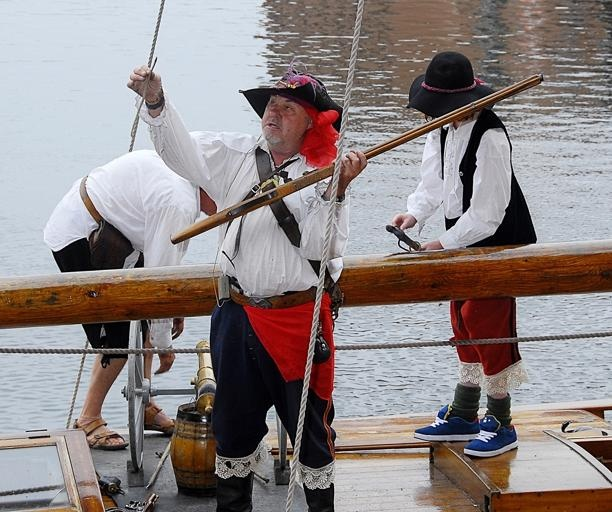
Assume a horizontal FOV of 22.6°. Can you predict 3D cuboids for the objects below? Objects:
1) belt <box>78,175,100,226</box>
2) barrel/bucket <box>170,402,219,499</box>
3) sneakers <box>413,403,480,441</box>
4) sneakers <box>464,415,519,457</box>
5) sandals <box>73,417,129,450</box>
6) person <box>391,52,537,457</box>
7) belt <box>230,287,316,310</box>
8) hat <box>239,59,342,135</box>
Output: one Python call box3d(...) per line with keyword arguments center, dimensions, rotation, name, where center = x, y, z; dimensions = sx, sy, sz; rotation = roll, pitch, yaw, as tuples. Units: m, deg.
box3d(center=(-1.731, -0.427, 12.206), dimensions=(0.084, 0.300, 0.292), rotation=(-26, -13, 9), name="belt")
box3d(center=(-0.848, 1.487, 11.482), dimensions=(0.465, 0.566, 0.441), rotation=(-1, 1, 0), name="barrel/bucket")
box3d(center=(1.085, 1.317, 11.870), dimensions=(0.637, 0.252, 0.195), rotation=(2, -1, 0), name="sneakers")
box3d(center=(1.419, 1.387, 11.703), dimensions=(0.562, 0.234, 0.196), rotation=(-5, 10, -36), name="sneakers")
box3d(center=(-1.619, 1.410, 12.135), dimensions=(0.552, 0.197, 0.254), rotation=(10, 16, 29), name="sandals")
box3d(center=(1.260, 0.007, 12.167), dimensions=(1.480, 2.787, 1.019), rotation=(0, 2, -2), name="person")
box3d(center=(-0.248, 0.305, 10.984), dimensions=(0.621, 0.134, 0.103), rotation=(0, 11, 6), name="belt")
box3d(center=(-0.084, -1.171, 10.987), dimensions=(0.575, 0.220, 0.579), rotation=(21, -19, 11), name="hat")
